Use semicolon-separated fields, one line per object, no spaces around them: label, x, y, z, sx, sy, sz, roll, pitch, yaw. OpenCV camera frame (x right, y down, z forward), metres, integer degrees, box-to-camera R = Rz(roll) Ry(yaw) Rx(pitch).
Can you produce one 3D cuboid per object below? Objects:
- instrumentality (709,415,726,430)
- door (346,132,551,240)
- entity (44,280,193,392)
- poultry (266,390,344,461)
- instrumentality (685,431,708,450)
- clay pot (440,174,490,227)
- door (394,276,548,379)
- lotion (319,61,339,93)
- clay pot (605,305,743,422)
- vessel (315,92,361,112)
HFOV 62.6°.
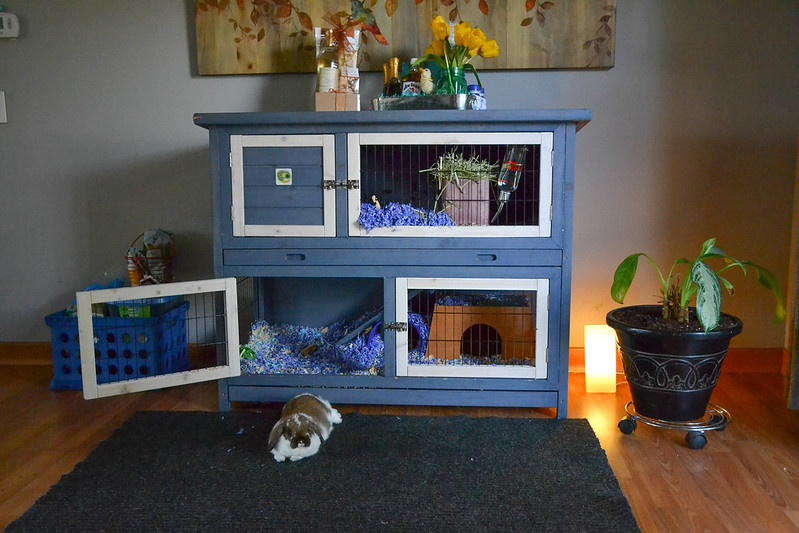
instrumentality;1.519;0.744;3.161;0.070;0.048;0.078;-1;-1;-42
door;0.242;-0.402;3.230;0.994;0.503;0.146;0;12;3
entity;-1.570;0.427;3.832;0.783;0.489;0.579;-4;-5;-19
poultry;-0.470;0.730;3.120;0.344;0.166;0.435;-3;20;-2
instrumentality;1.388;0.808;3.070;0.112;0.080;0.066;1;12;4
clay pot;0.328;-0.315;3.406;0.263;0.252;0.174;2;-4;-2
door;0.376;0.334;3.425;0.798;0.509;0.442;-1;-8;9
lotion;-0.364;-0.956;3.362;0.103;0.134;0.089;-2;12;-7
clay pot;1.317;0.446;3.204;0.592;0.412;0.549;0;3;0
vessel;-0.317;-0.832;3.323;0.140;0.084;0.075;1;-9;2
